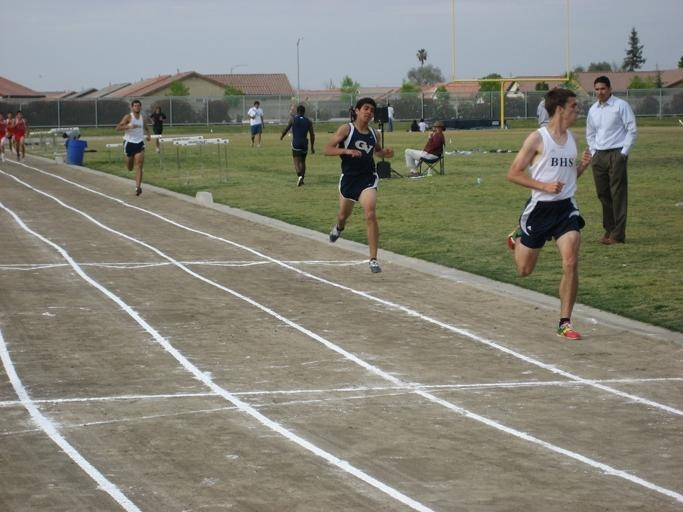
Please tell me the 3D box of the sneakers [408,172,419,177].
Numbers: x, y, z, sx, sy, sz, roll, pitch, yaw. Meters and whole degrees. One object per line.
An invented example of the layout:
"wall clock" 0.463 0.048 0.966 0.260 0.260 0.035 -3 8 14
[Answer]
"sneakers" 1.628 -1.794 27.549 0.193 0.103 0.332 -5 9 -38

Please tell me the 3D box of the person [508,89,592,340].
"person" 2.143 -0.469 13.023 0.789 2.556 0.750 2 8 10

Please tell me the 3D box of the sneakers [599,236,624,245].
"sneakers" 3.745 -0.211 17.410 0.335 0.111 0.101 -5 5 15

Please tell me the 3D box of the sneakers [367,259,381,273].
"sneakers" 0.448 0.123 15.722 0.098 0.090 0.232 -2 6 -14

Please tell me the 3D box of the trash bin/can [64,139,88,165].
"trash bin/can" -6.819 -2.737 32.913 0.843 0.672 0.720 1 3 6

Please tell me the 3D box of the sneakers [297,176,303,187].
"sneakers" -0.806 -1.504 26.134 0.109 0.102 0.249 3 -29 -4

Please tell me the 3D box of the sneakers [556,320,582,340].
"sneakers" 2.347 0.760 12.860 0.232 0.181 0.133 2 8 11
